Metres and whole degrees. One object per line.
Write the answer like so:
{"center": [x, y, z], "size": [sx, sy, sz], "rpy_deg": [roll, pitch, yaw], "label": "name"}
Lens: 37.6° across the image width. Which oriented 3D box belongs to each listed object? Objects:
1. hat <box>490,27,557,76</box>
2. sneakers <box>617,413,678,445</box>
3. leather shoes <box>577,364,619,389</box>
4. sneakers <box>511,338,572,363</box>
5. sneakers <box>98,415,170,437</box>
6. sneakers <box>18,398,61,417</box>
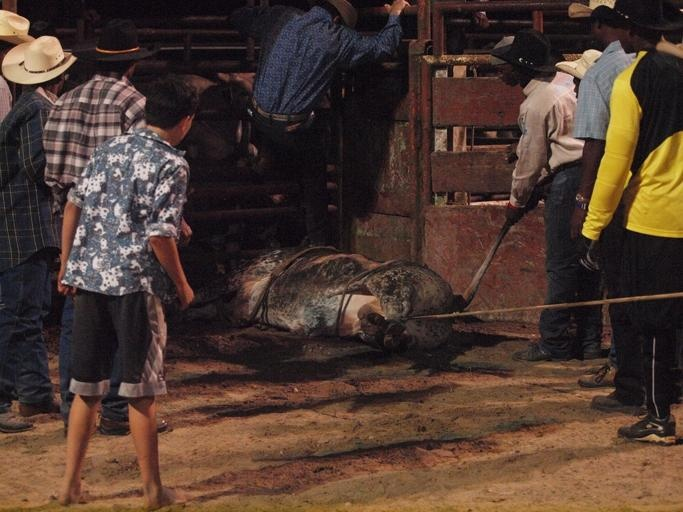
{"center": [1.411, -1.613, 7.895], "size": [0.794, 0.224, 0.605], "rpy_deg": [13, 21, 15], "label": "hat"}
{"center": [1.945, 1.106, 6.408], "size": [0.415, 0.154, 0.142], "rpy_deg": [2, -9, 15], "label": "sneakers"}
{"center": [1.789, 0.880, 7.246], "size": [0.373, 0.113, 0.118], "rpy_deg": [0, 14, -7], "label": "leather shoes"}
{"center": [1.572, 0.770, 7.959], "size": [0.515, 0.153, 0.169], "rpy_deg": [1, -5, 1], "label": "sneakers"}
{"center": [-1.362, 1.116, 6.721], "size": [0.521, 0.145, 0.153], "rpy_deg": [-2, 6, -6], "label": "sneakers"}
{"center": [-2.068, 1.045, 6.963], "size": [0.334, 0.103, 0.102], "rpy_deg": [-6, 18, -21], "label": "sneakers"}
